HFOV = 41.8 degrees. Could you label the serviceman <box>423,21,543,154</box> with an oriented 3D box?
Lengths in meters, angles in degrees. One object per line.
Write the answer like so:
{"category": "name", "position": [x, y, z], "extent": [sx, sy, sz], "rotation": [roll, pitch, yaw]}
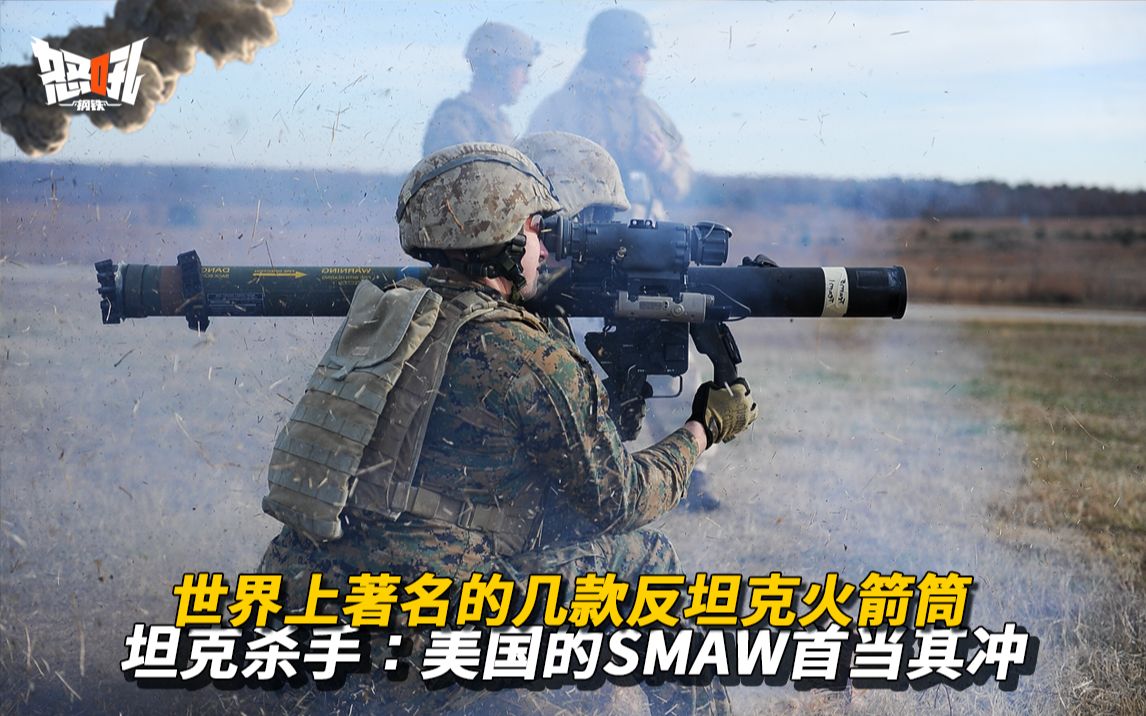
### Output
{"category": "serviceman", "position": [-1.180, -3.516, 19.388], "extent": [0.853, 1.541, 1.393], "rotation": [9, 16, 34]}
